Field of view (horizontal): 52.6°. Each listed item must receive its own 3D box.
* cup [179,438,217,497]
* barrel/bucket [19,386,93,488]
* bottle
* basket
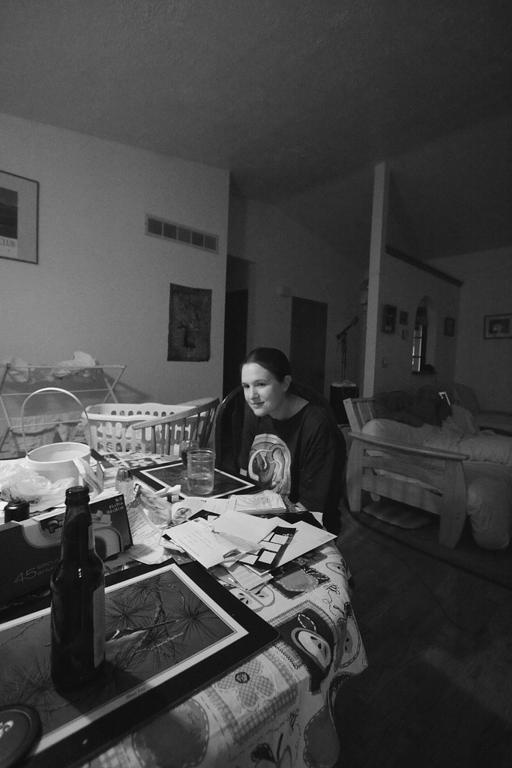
[{"bbox_3d":[-0.145,0.234,1.334,0.088,0.108,0.098,0,-1,-4],"label":"cup"},{"bbox_3d":[-0.496,0.142,1.283,0.154,0.241,0.154,-5,-31,-3],"label":"barrel/bucket"},{"bbox_3d":[-0.225,0.256,0.653,0.068,0.246,0.055,-2,7,-29],"label":"bottle"},{"bbox_3d":[-0.882,0.202,2.241,0.251,0.374,0.262,-4,30,-20],"label":"basket"}]
